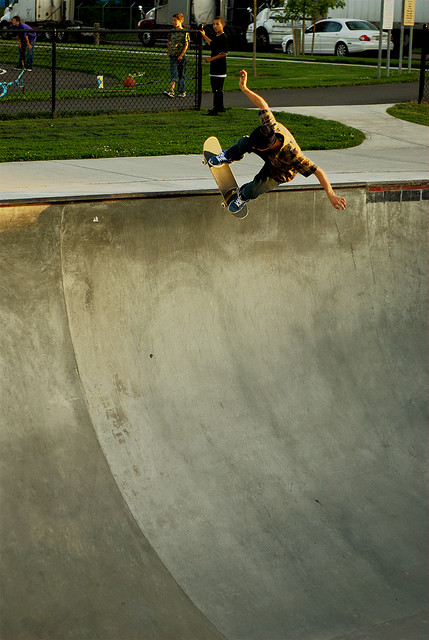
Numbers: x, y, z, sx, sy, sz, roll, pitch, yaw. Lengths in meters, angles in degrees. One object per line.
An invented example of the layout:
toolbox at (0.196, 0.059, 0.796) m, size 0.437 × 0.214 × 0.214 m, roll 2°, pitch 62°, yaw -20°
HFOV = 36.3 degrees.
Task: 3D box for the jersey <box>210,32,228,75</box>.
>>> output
jersey at (0.046, -4.660, 11.486) m, size 0.283 × 0.721 × 0.315 m, roll 1°, pitch 13°, yaw -2°

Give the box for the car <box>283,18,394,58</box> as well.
car at (4.719, -10.958, 25.541) m, size 1.173 × 1.444 × 3.965 m, roll -10°, pitch 17°, yaw -41°

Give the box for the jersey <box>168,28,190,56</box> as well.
jersey at (-0.695, -5.336, 12.612) m, size 0.392 × 0.468 × 0.888 m, roll 1°, pitch 12°, yaw -3°
